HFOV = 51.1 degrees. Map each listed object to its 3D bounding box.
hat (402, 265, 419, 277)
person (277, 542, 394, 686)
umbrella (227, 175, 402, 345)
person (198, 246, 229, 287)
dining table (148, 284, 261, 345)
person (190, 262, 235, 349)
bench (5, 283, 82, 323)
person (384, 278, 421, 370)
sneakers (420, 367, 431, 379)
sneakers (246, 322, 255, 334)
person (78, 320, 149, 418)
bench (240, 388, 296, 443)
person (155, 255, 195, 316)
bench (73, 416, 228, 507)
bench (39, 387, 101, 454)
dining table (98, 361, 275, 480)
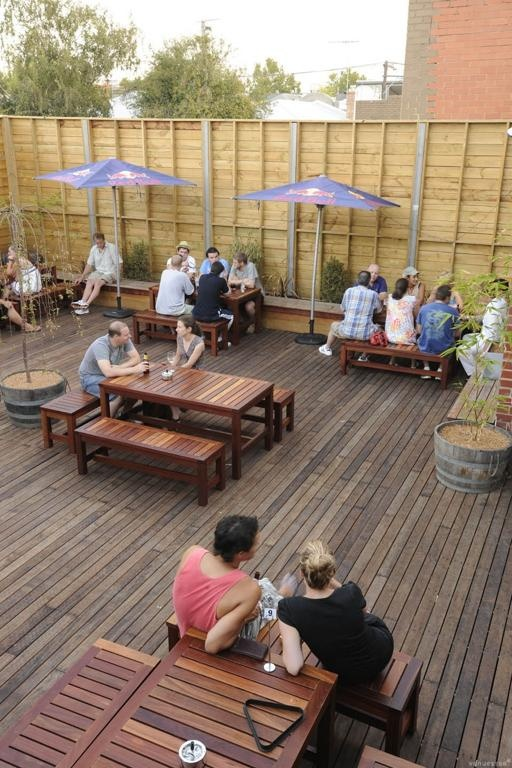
[{"bbox_3d":[2.402,-1.766,8.472,0.212,0.139,0.281,-30,26,-36],"label":"hat"},{"bbox_3d":[0.400,1.139,2.648,0.495,1.020,0.616,-12,53,13],"label":"person"},{"bbox_3d":[1.393,-2.263,9.942,2.951,2.738,3.117,-19,37,-28],"label":"umbrella"},{"bbox_3d":[-0.803,-2.215,9.726,0.591,0.700,0.785,-1,30,2],"label":"person"},{"bbox_3d":[-0.481,-1.358,9.791,0.922,0.860,0.921,14,38,24],"label":"dining table"},{"bbox_3d":[-0.721,-1.355,9.054,0.531,1.285,0.789,13,21,23],"label":"person"},{"bbox_3d":[-4.021,-1.500,9.972,0.395,0.442,1.389,16,31,22],"label":"bench"},{"bbox_3d":[2.148,-0.928,8.027,0.516,1.023,0.465,-11,3,8],"label":"person"},{"bbox_3d":[2.529,-0.154,7.988,0.112,0.128,0.325,-1,5,15],"label":"sneakers"},{"bbox_3d":[-0.112,-1.041,10.123,0.094,0.094,0.225,5,21,16],"label":"sneakers"},{"bbox_3d":[-1.663,-0.152,6.156,0.767,1.119,0.761,10,27,-3],"label":"person"},{"bbox_3d":[0.128,0.285,6.488,0.619,0.595,0.623,13,27,28],"label":"bench"},{"bbox_3d":[-1.335,-1.704,9.245,0.746,0.964,0.718,16,26,20],"label":"person"},{"bbox_3d":[-1.041,0.745,5.330,1.532,0.880,0.490,-10,3,24],"label":"bench"},{"bbox_3d":[-2.064,0.405,5.917,0.323,0.364,0.600,12,28,17],"label":"bench"},{"bbox_3d":[-0.557,0.080,5.761,2.121,0.981,1.083,12,27,28],"label":"dining table"}]
